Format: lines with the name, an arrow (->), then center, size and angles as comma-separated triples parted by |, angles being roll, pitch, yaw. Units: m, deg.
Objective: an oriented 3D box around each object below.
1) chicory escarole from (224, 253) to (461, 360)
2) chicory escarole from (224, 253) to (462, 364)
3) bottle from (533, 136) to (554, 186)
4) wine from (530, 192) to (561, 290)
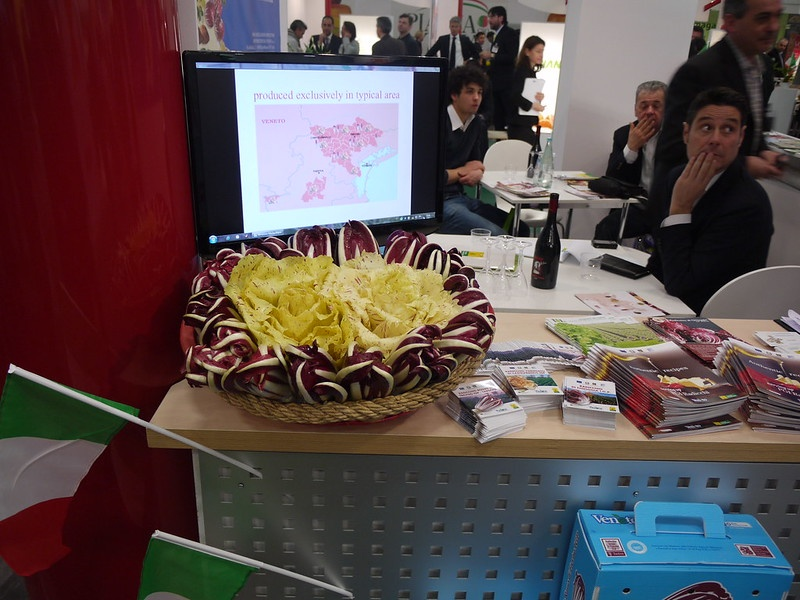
chicory escarole -> -0.117, 0.000, 0.965 | 0.321, 0.117, 0.210 | 3, 32, 0
chicory escarole -> -0.139, -0.088, 1.108 | 0.515, 0.166, 0.411 | -8, 24, -25
bottle -> 1.027, -0.973, 3.948 | 0.139, 0.298, 0.418 | 7, 24, 11
wine -> 0.528, -0.211, 1.993 | 0.111, 0.330, 0.109 | -5, 19, -26
